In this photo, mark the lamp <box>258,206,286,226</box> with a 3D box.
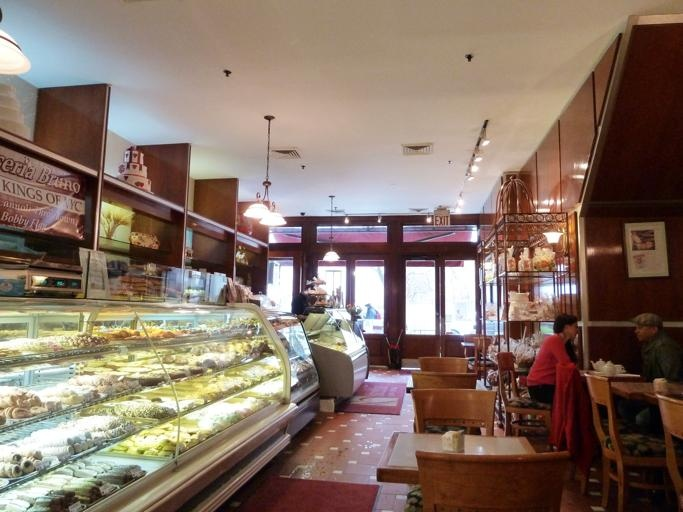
[{"bbox_3d":[-0.967,-0.616,6.763,0.346,0.180,0.327,2,-9,-2],"label":"lamp"}]

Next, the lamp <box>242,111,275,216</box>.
[{"bbox_3d":[-1.023,-1.249,6.665,0.564,1.312,0.545,-4,16,-31],"label":"lamp"}]

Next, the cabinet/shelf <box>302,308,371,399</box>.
[{"bbox_3d":[-0.032,1.395,7.164,0.766,1.120,1.846,0,-8,7],"label":"cabinet/shelf"}]

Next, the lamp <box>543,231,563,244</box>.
[{"bbox_3d":[2.418,-0.220,5.580,0.168,0.054,0.166,-2,-8,36],"label":"lamp"}]

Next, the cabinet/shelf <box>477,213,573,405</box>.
[{"bbox_3d":[2.172,0.437,6.699,0.806,2.062,2.268,10,-3,-6],"label":"cabinet/shelf"}]

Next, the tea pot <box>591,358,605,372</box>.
[{"bbox_3d":[2.561,1.080,4.814,0.081,0.110,0.290,-1,-5,19],"label":"tea pot"}]

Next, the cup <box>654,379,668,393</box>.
[{"bbox_3d":[2.518,1.018,3.820,0.103,0.088,0.094,1,0,0],"label":"cup"}]

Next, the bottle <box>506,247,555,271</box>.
[{"bbox_3d":[2.291,0.030,5.898,0.528,0.297,0.272,-1,-6,14],"label":"bottle"}]
